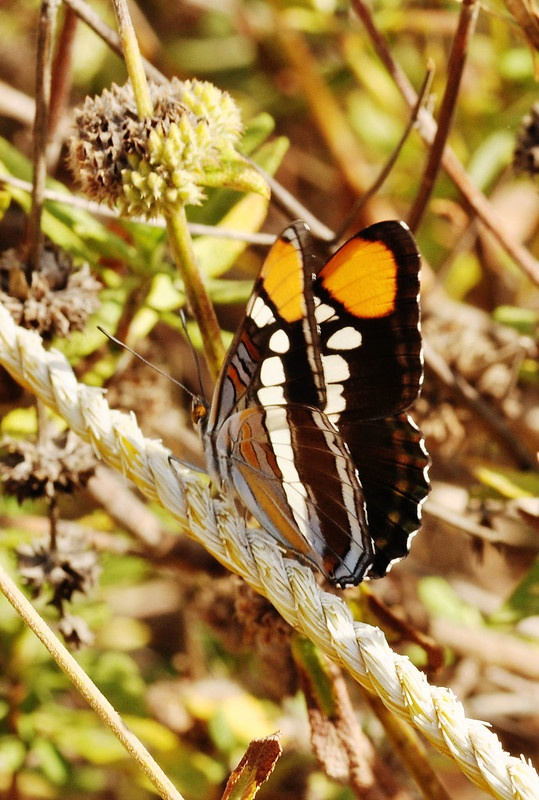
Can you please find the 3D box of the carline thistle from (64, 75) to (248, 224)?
[{"bbox_3d":[-0.104,-0.268,0.840,0.153,0.087,0.148,-6,26,17],"label":"carline thistle"}]

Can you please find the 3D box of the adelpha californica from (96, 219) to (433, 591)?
[{"bbox_3d":[0.061,-0.004,0.976,0.355,0.371,0.313,19,7,-20],"label":"adelpha californica"}]

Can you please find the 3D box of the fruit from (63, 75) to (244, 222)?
[{"bbox_3d":[-0.102,-0.257,0.854,0.145,0.143,0.175,-4,23,-3],"label":"fruit"}]
